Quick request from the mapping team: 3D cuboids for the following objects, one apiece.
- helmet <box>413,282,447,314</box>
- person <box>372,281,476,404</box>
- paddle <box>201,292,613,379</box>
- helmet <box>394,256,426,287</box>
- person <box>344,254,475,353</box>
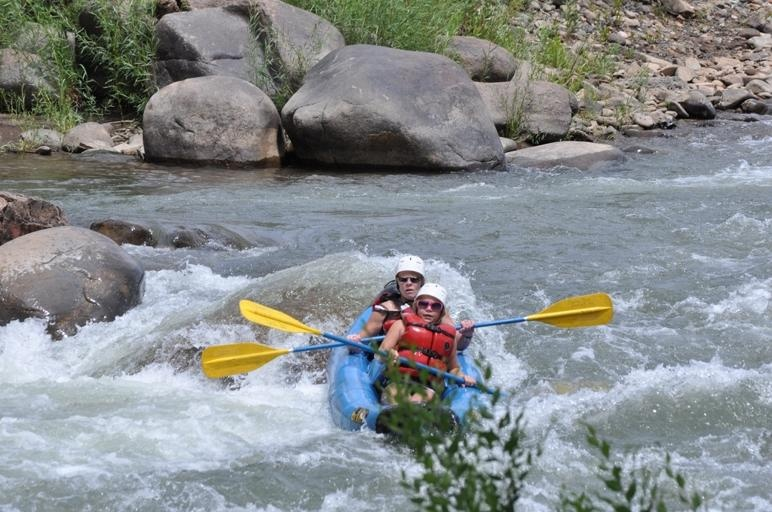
[{"bbox_3d":[0.485,0.434,10.323,0.231,0.302,0.217,16,53,6],"label":"helmet"},{"bbox_3d":[0.364,0.909,9.883,0.871,0.517,1.402,16,41,3],"label":"person"},{"bbox_3d":[0.162,0.892,10.510,2.915,0.730,0.100,-8,44,-4],"label":"paddle"},{"bbox_3d":[0.277,0.168,10.788,0.239,0.318,0.230,2,56,5],"label":"helmet"},{"bbox_3d":[0.271,0.458,10.770,1.030,0.718,1.910,8,-6,-15],"label":"person"}]
